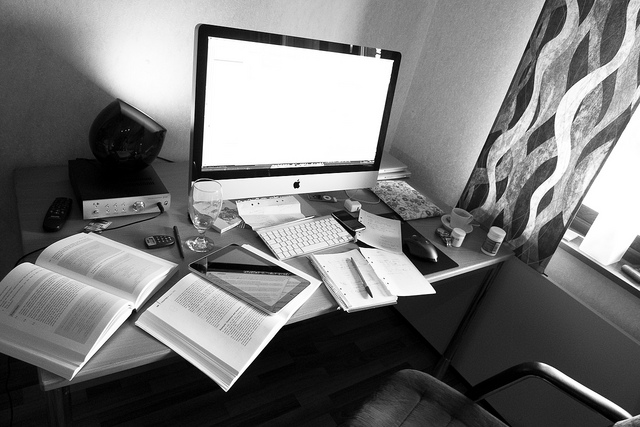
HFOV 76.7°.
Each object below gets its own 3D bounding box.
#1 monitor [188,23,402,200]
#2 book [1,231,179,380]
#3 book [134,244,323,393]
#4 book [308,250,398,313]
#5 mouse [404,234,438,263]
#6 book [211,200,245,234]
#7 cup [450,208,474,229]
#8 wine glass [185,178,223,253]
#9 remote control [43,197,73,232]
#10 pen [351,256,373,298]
[{"bbox_3d":[-0.118,-0.370,1.501,0.936,0.642,0.069,-2,29,-28],"label":"monitor"},{"bbox_3d":[-0.714,0.230,1.201,0.352,0.153,0.452,15,37,18],"label":"book"},{"bbox_3d":[-0.284,0.271,1.301,0.351,0.048,0.464,26,40,12],"label":"book"},{"bbox_3d":[0.103,0.218,1.424,0.236,0.047,0.258,-7,39,-27],"label":"book"},{"bbox_3d":[0.398,0.141,1.612,0.076,0.045,0.128,-7,35,-27],"label":"mouse"},{"bbox_3d":[-0.368,0.010,1.575,0.128,0.025,0.117,-26,43,-38],"label":"book"},{"bbox_3d":[0.625,0.024,1.795,0.076,0.070,0.093,4,22,4],"label":"cup"},{"bbox_3d":[-0.408,0.012,1.425,0.125,0.268,0.127,5,35,-26],"label":"wine glass"},{"bbox_3d":[-0.913,0.001,1.398,0.049,0.023,0.143,10,27,-16],"label":"remote control"},{"bbox_3d":[0.128,0.215,1.468,0.023,0.024,0.224,-38,44,4],"label":"pen"}]
